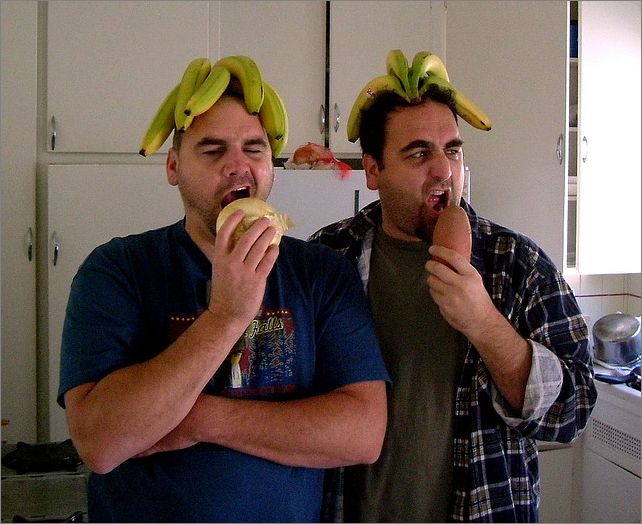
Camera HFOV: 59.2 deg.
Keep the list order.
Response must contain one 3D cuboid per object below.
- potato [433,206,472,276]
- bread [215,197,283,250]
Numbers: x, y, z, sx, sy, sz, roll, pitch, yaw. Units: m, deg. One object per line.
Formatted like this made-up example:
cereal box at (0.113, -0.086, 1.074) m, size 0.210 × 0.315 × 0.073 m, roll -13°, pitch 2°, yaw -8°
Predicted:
potato at (0.291, -0.051, 1.270) m, size 0.064 × 0.161 × 0.052 m, roll -6°, pitch -16°, yaw 24°
bread at (-0.138, -0.084, 1.127) m, size 0.109 × 0.101 × 0.089 m, roll 15°, pitch -19°, yaw -1°
